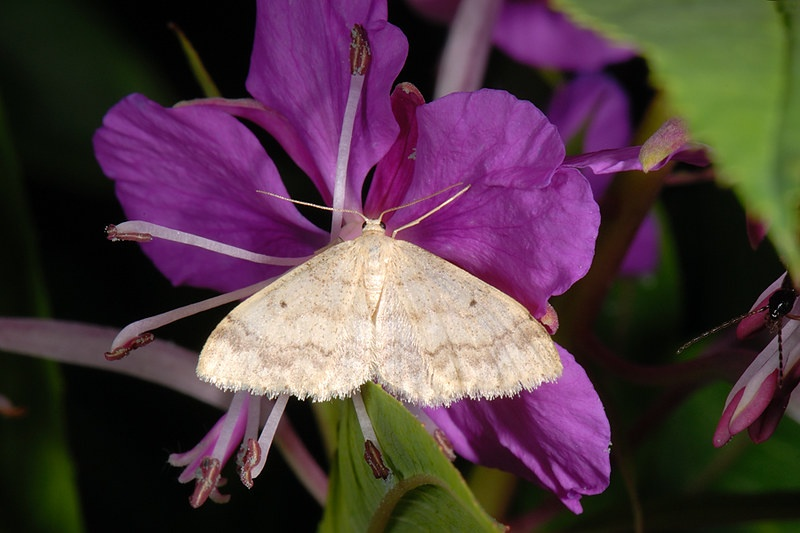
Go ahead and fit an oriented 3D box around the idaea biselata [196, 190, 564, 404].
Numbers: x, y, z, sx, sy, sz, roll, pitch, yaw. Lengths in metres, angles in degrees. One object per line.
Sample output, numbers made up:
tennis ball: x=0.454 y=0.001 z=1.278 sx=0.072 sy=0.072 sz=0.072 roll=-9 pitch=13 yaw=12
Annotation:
idaea biselata: x=-0.028 y=0.062 z=1.065 sx=0.422 sy=0.112 sz=0.215 roll=-2 pitch=47 yaw=0
